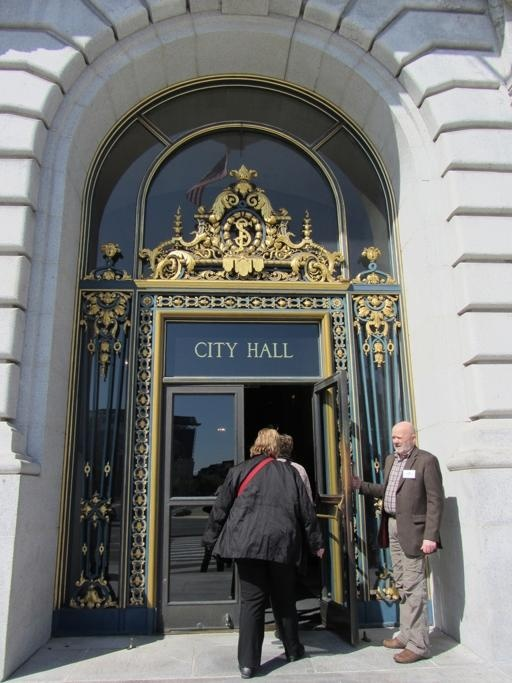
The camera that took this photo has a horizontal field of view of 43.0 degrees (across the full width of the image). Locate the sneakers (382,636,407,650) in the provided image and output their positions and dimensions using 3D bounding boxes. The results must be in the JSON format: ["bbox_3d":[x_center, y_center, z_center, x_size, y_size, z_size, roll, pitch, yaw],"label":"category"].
[{"bbox_3d":[1.187,2.598,5.637,0.205,0.085,0.074,-6,-28,42],"label":"sneakers"}]

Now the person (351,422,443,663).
[{"bbox_3d":[1.288,1.657,5.585,0.448,1.921,0.771,2,-10,-13],"label":"person"}]

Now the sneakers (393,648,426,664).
[{"bbox_3d":[1.221,2.507,5.225,0.270,0.116,0.097,9,-24,-5],"label":"sneakers"}]

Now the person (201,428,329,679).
[{"bbox_3d":[0.058,1.608,5.121,0.911,1.846,0.587,1,-10,-11],"label":"person"}]
